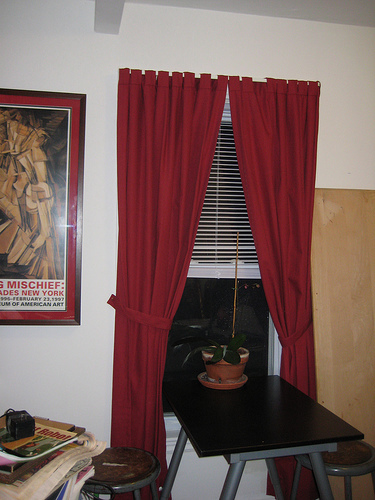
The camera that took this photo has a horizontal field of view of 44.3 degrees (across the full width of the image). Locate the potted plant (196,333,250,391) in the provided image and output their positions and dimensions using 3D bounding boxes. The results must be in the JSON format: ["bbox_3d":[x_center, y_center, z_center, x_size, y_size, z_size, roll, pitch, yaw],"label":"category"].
[{"bbox_3d":[0.168,0.510,2.170,0.215,0.197,0.211,5,-8,-44],"label":"potted plant"}]
